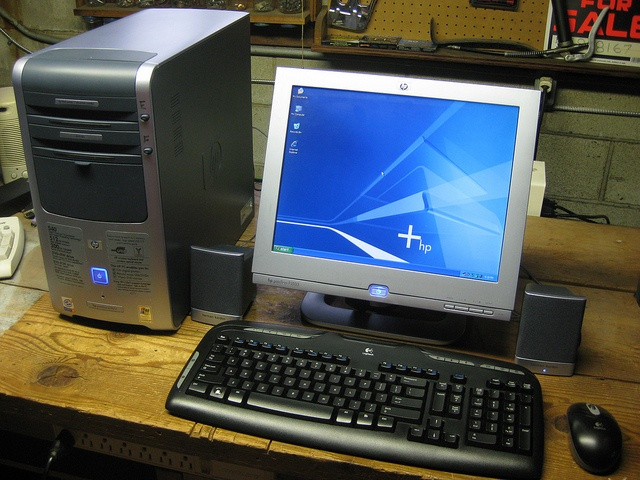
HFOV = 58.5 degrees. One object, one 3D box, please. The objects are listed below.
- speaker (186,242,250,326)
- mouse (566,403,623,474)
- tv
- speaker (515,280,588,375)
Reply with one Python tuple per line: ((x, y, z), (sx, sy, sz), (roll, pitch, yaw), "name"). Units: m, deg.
((-0.204, 0.086, 1.204), (0.125, 0.167, 0.164), (4, 14, 7), "speaker")
((0.463, 0.325, 0.970), (0.066, 0.036, 0.111), (12, 40, -2), "mouse")
((0.145, -0.068, 1.141), (0.534, 0.401, 0.190), (7, 24, 11), "tv")
((0.437, 0.173, 1.082), (0.141, 0.194, 0.109), (8, 18, 15), "speaker")
